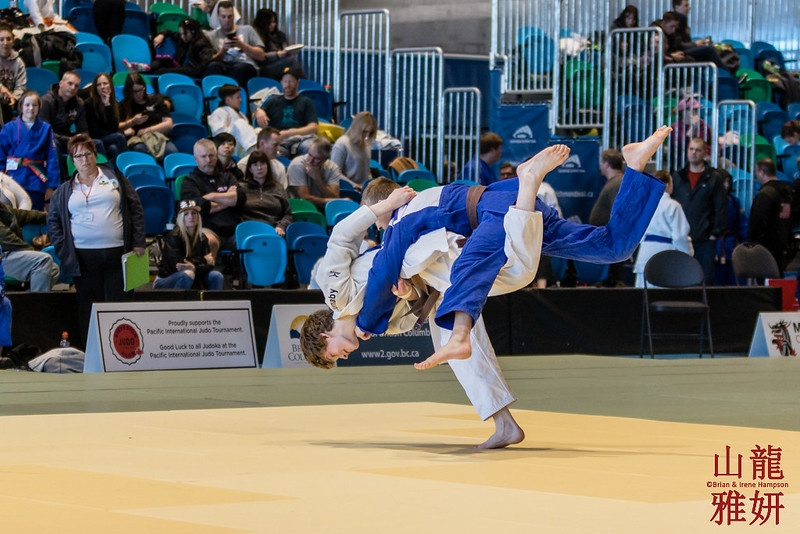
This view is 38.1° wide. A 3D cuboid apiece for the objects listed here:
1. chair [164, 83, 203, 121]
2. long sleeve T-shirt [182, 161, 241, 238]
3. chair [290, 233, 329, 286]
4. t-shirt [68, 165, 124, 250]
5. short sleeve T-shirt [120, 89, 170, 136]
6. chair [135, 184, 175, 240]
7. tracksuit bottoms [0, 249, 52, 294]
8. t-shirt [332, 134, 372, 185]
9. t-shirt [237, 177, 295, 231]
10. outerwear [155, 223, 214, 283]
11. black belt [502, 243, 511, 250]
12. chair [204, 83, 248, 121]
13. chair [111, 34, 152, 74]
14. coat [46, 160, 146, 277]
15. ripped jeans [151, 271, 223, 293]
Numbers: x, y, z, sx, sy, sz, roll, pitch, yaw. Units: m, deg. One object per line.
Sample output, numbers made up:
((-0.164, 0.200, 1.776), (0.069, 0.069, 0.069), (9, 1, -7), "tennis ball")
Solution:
((-2.930, -2.325, 16.013), (0.497, 0.687, 0.562), (0, -2, -19), "chair")
((-2.109, -0.715, 12.896), (0.604, 0.743, 0.413), (-23, 0, -39), "long sleeve T-shirt")
((-1.043, -0.089, 12.883), (0.476, 0.663, 0.530), (1, -3, -9), "chair")
((-3.087, -0.567, 11.714), (0.631, 1.064, 0.543), (-3, -15, -12), "t-shirt")
((-3.199, -1.928, 14.644), (0.327, 0.556, 0.757), (0, 4, 39), "short sleeve T-shirt")
((-2.782, -0.633, 13.230), (0.493, 0.662, 0.527), (0, 5, -9), "chair")
((-3.877, 0.023, 12.122), (0.444, 0.565, 0.396), (-20, 23, -20), "tracksuit bottoms")
((-0.548, -1.345, 14.457), (0.613, 0.623, 0.344), (-16, 29, -35), "t-shirt")
((-1.586, -0.689, 13.275), (0.661, 0.658, 0.397), (2, -6, -11), "t-shirt")
((-2.278, -0.068, 12.447), (0.573, 0.678, 0.593), (5, 3, -3), "outerwear")
((0.826, -0.158, 8.999), (0.038, 0.027, 0.053), (13, -17, -31), "black belt")
((-2.453, -2.323, 16.247), (0.468, 0.629, 0.500), (-1, -7, -10), "chair")
((-3.964, -3.139, 17.098), (0.506, 0.688, 0.572), (-6, 7, -38), "chair")
((-3.125, -0.445, 11.803), (0.968, 1.159, 0.593), (-16, 3, -16), "coat")
((-2.236, 0.162, 12.355), (0.374, 0.190, 0.347), (3, -5, -5), "ripped jeans")
